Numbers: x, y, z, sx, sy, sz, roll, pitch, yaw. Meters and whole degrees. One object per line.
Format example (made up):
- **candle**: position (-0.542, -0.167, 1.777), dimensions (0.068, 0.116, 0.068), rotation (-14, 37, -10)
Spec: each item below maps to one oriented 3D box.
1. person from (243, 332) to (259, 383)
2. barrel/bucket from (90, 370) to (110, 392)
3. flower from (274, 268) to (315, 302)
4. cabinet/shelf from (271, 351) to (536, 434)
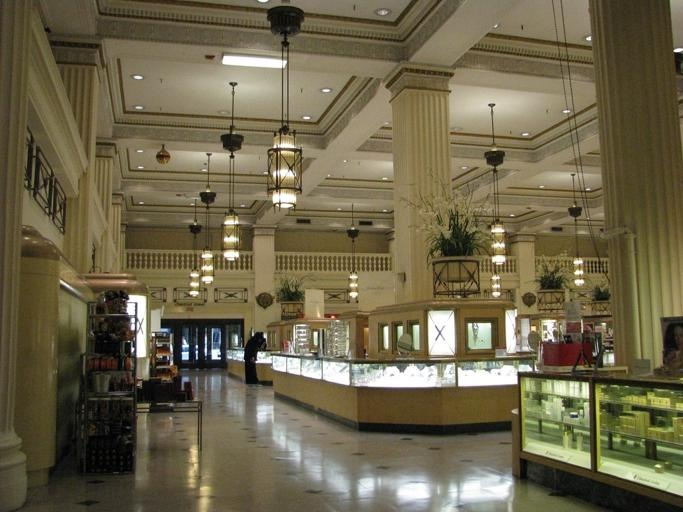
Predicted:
- **person**: position (-2.581, 2.936, 17.465), dimensions (0.417, 1.452, 0.942), rotation (0, -8, -9)
- **barrel/bucket**: position (-2.739, 1.443, 6.906), dimensions (0.214, 0.179, 0.178), rotation (10, -15, -33)
- **flower**: position (-1.903, 1.098, 23.243), dimensions (1.208, 0.868, 1.201), rotation (0, -6, 22)
- **cabinet/shelf**: position (0.030, 2.391, 11.250), dimensions (2.158, 1.065, 8.242), rotation (4, -10, -35)
